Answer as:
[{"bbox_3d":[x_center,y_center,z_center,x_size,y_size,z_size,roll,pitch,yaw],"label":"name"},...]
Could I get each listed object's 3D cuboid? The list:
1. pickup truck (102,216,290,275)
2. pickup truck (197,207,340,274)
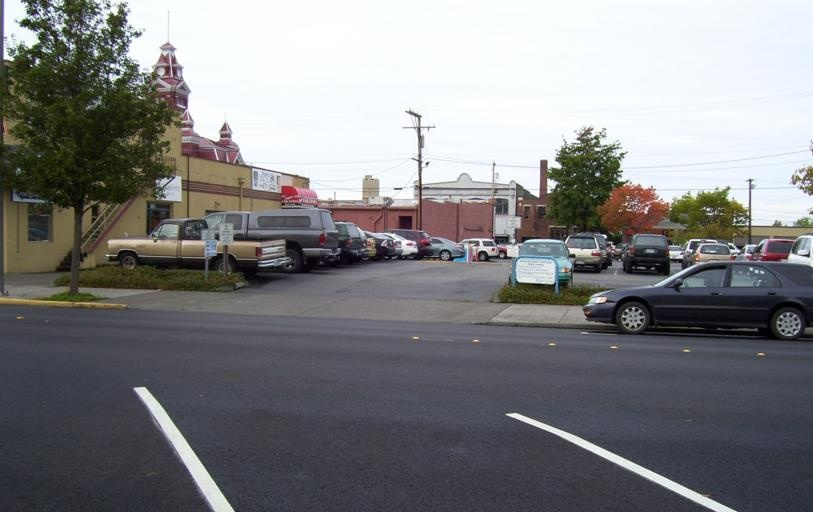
[{"bbox_3d":[-8.551,-0.228,26.472,6.486,2.216,2.790,2,0,13],"label":"pickup truck"},{"bbox_3d":[-6.527,-0.831,28.824,6.284,2.023,2.440,2,2,14],"label":"pickup truck"}]
